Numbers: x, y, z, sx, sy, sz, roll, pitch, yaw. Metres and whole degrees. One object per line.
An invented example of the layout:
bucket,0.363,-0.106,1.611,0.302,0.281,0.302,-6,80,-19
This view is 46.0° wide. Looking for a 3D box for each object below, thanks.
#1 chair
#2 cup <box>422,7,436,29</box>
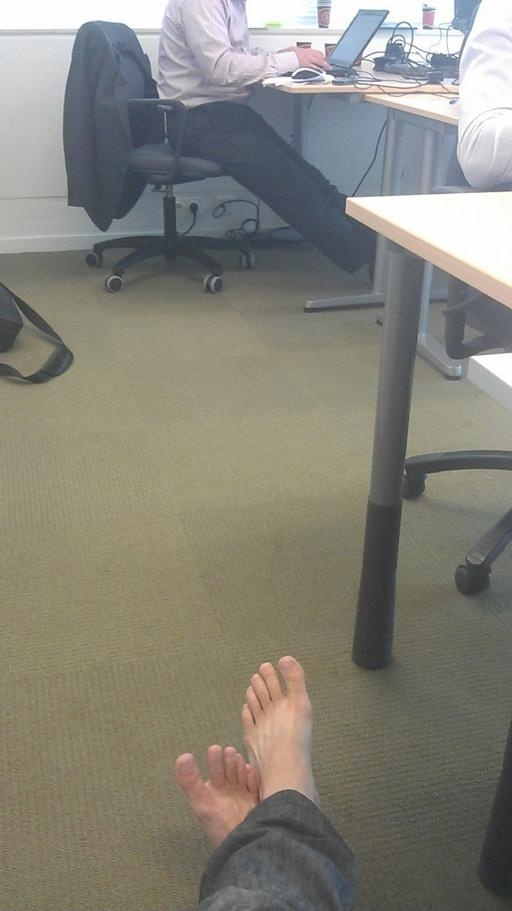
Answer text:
chair,-0.518,-1.394,2.851,0.728,1.060,0.756,-2,32,-3
cup,0.953,-2.451,3.380,0.071,0.106,0.197,7,35,11
